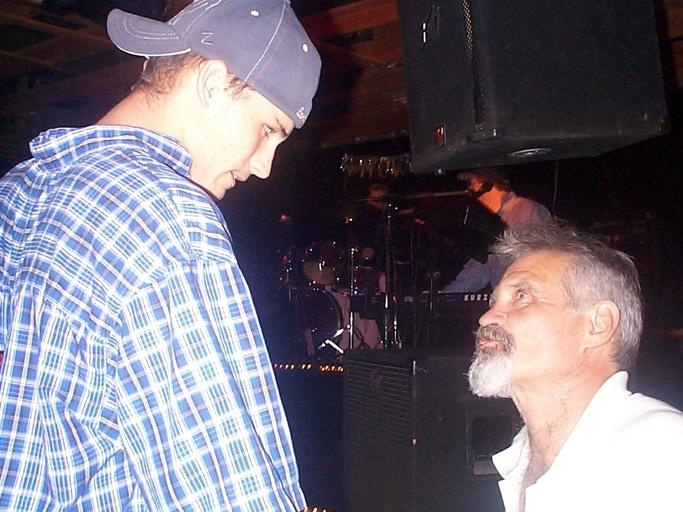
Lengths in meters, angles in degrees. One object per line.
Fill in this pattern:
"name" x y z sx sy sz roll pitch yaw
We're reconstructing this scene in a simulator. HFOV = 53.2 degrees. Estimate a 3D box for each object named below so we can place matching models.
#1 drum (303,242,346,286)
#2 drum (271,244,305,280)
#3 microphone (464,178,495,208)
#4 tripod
"drum" -0.253 0.149 9.053 0.433 0.604 0.623 5 35 1
"drum" -0.718 0.104 9.621 0.338 0.365 0.653 4 86 -8
"microphone" 1.108 -0.514 5.510 0.192 0.162 0.186 -15 100 -13
"tripod" 0.117 0.713 8.710 0.718 0.943 1.001 0 92 -18
